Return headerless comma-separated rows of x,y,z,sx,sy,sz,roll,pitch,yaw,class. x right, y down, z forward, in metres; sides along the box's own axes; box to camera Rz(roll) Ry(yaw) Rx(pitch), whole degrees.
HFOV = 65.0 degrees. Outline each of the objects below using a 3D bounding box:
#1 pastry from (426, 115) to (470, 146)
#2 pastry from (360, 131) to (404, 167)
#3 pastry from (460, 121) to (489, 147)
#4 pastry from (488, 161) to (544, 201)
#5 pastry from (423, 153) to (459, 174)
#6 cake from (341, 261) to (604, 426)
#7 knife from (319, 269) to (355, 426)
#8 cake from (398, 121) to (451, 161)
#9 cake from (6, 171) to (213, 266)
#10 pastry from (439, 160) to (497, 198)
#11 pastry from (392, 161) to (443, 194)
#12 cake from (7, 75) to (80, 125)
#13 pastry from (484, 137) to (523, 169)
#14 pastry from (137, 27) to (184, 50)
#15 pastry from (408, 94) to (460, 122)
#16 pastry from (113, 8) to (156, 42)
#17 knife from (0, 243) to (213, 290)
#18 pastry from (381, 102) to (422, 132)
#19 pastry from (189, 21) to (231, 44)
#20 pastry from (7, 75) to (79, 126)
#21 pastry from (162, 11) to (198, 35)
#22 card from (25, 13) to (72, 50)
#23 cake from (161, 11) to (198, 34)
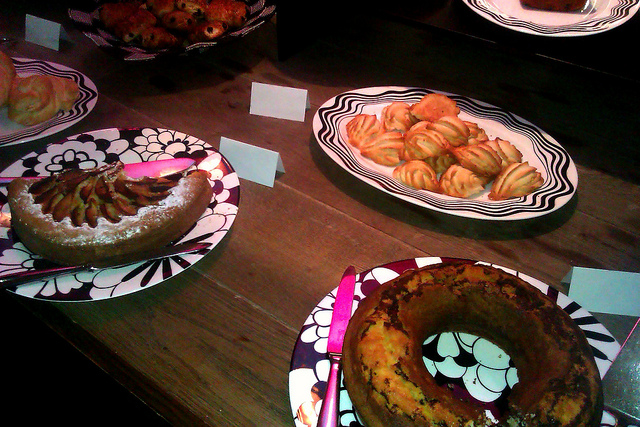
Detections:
0.289,-0.197,1.150,0.107,0.041,0.087,31,21,27,pastry
0.136,-0.151,1.130,0.085,0.039,0.071,-4,75,1,pastry
0.356,-0.184,1.153,0.063,0.020,0.063,10,59,6,pastry
0.411,-0.066,1.059,0.071,0.043,0.105,35,78,27,pastry
0.270,-0.118,1.130,0.053,0.016,0.052,-32,57,-26,pastry
0.230,0.219,0.807,0.387,0.095,0.263,-4,56,-5,cake
0.040,0.220,0.836,0.034,0.022,0.249,2,52,19,knife
0.227,-0.155,1.122,0.099,0.050,0.098,-35,63,-23,cake
-0.409,0.003,0.971,0.381,0.067,0.186,-2,56,-3,cake
0.300,-0.068,1.075,0.085,0.028,0.086,36,58,29,pastry
0.215,-0.082,1.085,0.113,0.022,0.063,21,58,12,pastry
-0.691,-0.293,1.296,0.193,0.119,0.161,-25,32,-30,cake
0.407,-0.125,1.128,0.069,0.023,0.068,28,12,-18,pastry
-0.415,-0.461,1.316,0.110,0.049,0.065,-4,60,-25,pastry
0.266,-0.256,1.219,0.095,0.065,0.119,-4,25,-5,pastry
-0.492,-0.505,1.335,0.107,0.031,0.065,-38,74,-5,pastry
-0.410,0.096,0.930,0.299,0.030,0.035,-9,49,-12,knife
0.186,-0.230,1.188,0.071,0.028,0.072,-7,51,-4,pastry
-0.289,-0.477,1.345,0.100,0.033,0.055,-9,60,7,pastry
-0.696,-0.314,1.283,0.195,0.119,0.163,-26,32,-31,pastry
-0.372,-0.517,1.347,0.079,0.065,0.044,3,75,-29,pastry
-0.792,-0.534,1.473,0.123,0.075,0.052,20,43,12,card
-0.378,-0.499,1.350,0.066,0.043,0.078,-2,0,39,cake
